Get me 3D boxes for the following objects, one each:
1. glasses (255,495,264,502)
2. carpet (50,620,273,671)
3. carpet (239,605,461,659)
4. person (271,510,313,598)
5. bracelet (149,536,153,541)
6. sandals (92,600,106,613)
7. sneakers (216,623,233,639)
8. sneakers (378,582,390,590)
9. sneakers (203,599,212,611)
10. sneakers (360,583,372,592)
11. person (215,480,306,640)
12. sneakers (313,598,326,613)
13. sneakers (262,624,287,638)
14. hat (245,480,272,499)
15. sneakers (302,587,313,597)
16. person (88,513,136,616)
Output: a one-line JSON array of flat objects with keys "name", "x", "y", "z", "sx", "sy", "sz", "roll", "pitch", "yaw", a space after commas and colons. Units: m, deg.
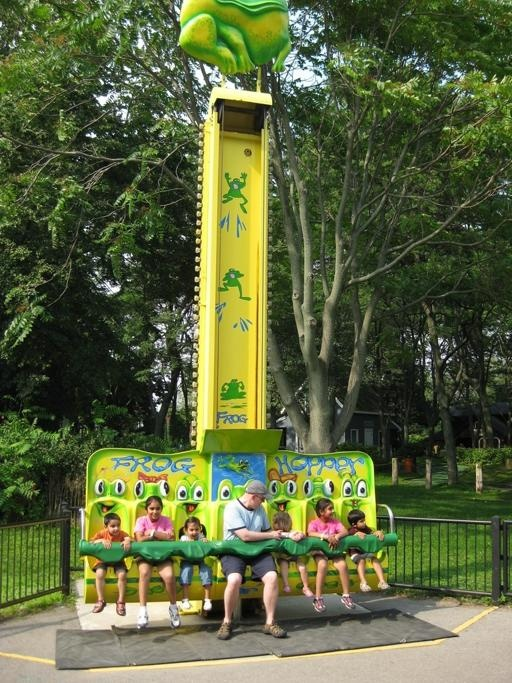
[{"name": "glasses", "x": 0.031, "y": 1.587, "z": 7.041, "sx": 0.108, "sy": 0.093, "sz": 0.076, "roll": 4, "pitch": -5, "yaw": -3}, {"name": "carpet", "x": -0.899, "y": 2.817, "z": 6.460, "sx": 1.880, "sy": 0.053, "sz": 1.330, "roll": 2, "pitch": -9, "yaw": -14}, {"name": "carpet", "x": 0.876, "y": 2.911, "z": 6.952, "sx": 2.013, "sy": 0.062, "sz": 1.202, "roll": 3, "pitch": -9, "yaw": -21}, {"name": "person", "x": 0.336, "y": 2.205, "z": 7.355, "sx": 0.369, "sy": 0.611, "sz": 0.995, "roll": 5, "pitch": 10, "yaw": -16}, {"name": "bracelet", "x": -1.031, "y": 1.928, "z": 6.777, "sx": 0.036, "sy": 0.046, "sz": 0.014, "roll": 3, "pitch": 0, "yaw": -8}, {"name": "sandals", "x": -1.509, "y": 2.562, "z": 6.669, "sx": 0.089, "sy": 0.094, "sz": 0.229, "roll": -5, "pitch": -25, "yaw": -8}, {"name": "sneakers", "x": -0.300, "y": 2.776, "z": 6.610, "sx": 0.115, "sy": 0.125, "sz": 0.305, "roll": 3, "pitch": -26, "yaw": 1}, {"name": "sneakers", "x": 1.417, "y": 2.682, "z": 7.629, "sx": 0.137, "sy": 0.096, "sz": 0.224, "roll": 0, "pitch": -19, "yaw": 2}, {"name": "sneakers", "x": -0.474, "y": 2.559, "z": 6.744, "sx": 0.062, "sy": 0.081, "sz": 0.216, "roll": 1, "pitch": -9, "yaw": -10}, {"name": "sneakers", "x": 1.197, "y": 2.663, "z": 7.473, "sx": 0.100, "sy": 0.074, "sz": 0.164, "roll": 1, "pitch": -19, "yaw": 3}, {"name": "person", "x": 0.098, "y": 2.148, "z": 6.929, "sx": 0.903, "sy": 1.422, "sz": 0.827, "roll": -1, "pitch": -6, "yaw": 6}, {"name": "sneakers", "x": 0.655, "y": 2.795, "z": 7.297, "sx": 0.154, "sy": 0.126, "sz": 0.310, "roll": 1, "pitch": -15, "yaw": -6}, {"name": "sneakers", "x": 0.185, "y": 2.819, "z": 6.707, "sx": 0.092, "sy": 0.105, "sz": 0.253, "roll": 13, "pitch": -25, "yaw": -36}, {"name": "hat", "x": 0.043, "y": 1.512, "z": 7.052, "sx": 0.236, "sy": 0.123, "sz": 0.157, "roll": 12, "pitch": -1, "yaw": -23}, {"name": "sneakers", "x": 0.543, "y": 2.629, "z": 7.256, "sx": 0.102, "sy": 0.061, "sz": 0.240, "roll": 7, "pitch": -4, "yaw": -2}, {"name": "person", "x": -1.419, "y": 2.188, "z": 6.758, "sx": 0.367, "sy": 0.965, "sz": 0.518, "roll": 2, "pitch": -9, "yaw": -12}]
